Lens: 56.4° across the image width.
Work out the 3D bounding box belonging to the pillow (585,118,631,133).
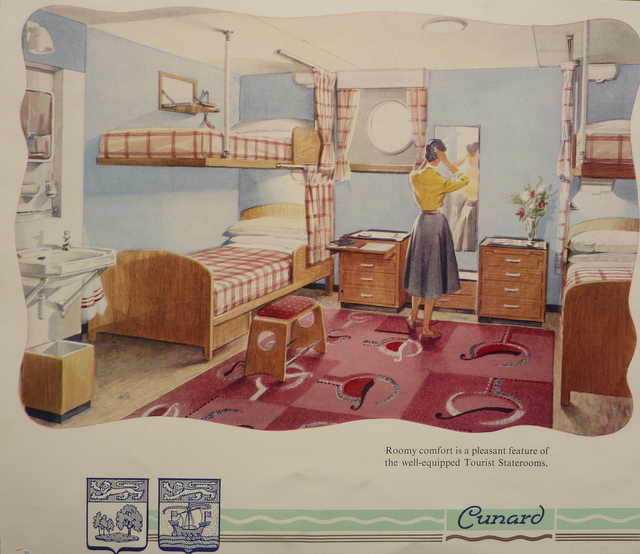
[{"bbox_3d":[1.506,-0.786,3.130,0.199,0.074,0.033,4,11,21],"label":"pillow"}]

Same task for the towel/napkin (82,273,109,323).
[{"bbox_3d":[-1.313,0.142,3.456,0.073,0.223,0.180,-10,-25,38],"label":"towel/napkin"}]

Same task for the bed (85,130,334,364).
[{"bbox_3d":[-0.878,-0.184,4.204,1.031,1.161,1.800,7,16,24],"label":"bed"}]

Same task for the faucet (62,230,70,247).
[{"bbox_3d":[-1.374,-0.205,3.222,0.031,0.082,0.056,4,11,17],"label":"faucet"}]

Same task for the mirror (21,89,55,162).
[{"bbox_3d":[-1.473,-0.786,3.111,0.039,0.360,0.162,9,13,40],"label":"mirror"}]

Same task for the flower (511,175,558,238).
[{"bbox_3d":[1.175,-0.374,3.298,0.268,0.309,0.262,-18,23,-39],"label":"flower"}]

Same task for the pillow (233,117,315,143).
[{"bbox_3d":[-0.301,-0.891,3.634,0.497,0.133,0.189,0,10,-2],"label":"pillow"}]

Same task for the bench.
[{"bbox_3d":[-0.207,0.336,3.613,0.425,0.442,0.626,3,9,20],"label":"bench"}]

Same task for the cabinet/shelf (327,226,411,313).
[{"bbox_3d":[0.312,-0.059,3.663,0.422,0.431,0.532,2,7,20],"label":"cabinet/shelf"}]
